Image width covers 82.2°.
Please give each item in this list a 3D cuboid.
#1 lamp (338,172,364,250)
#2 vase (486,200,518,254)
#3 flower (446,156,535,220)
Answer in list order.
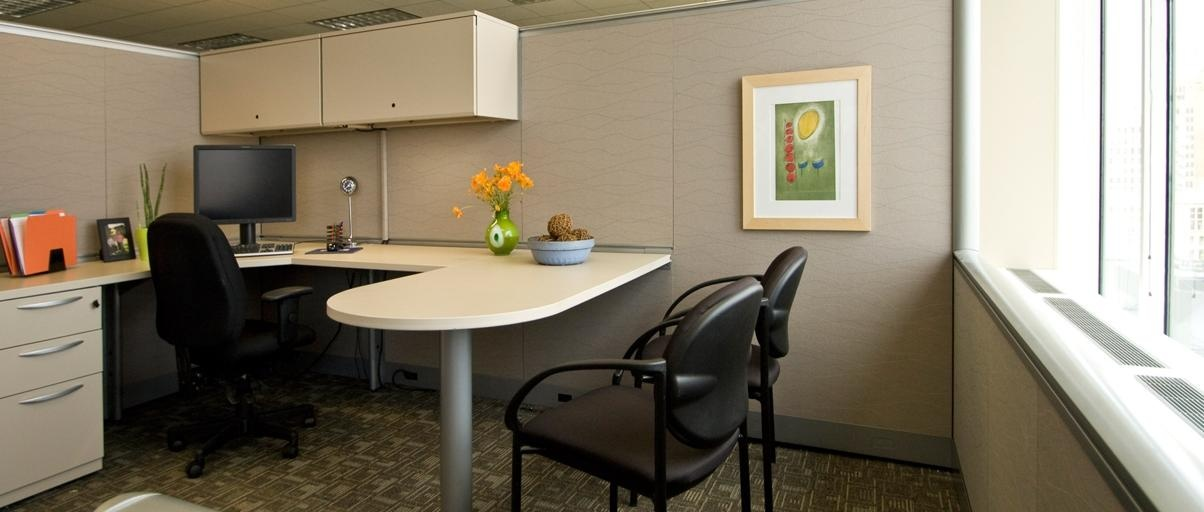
[{"bbox_3d":[-2.582,-0.482,7.075,0.203,0.659,0.146,5,13,24],"label":"lamp"},{"bbox_3d":[-0.909,-0.230,6.501,0.382,0.355,0.319,0,9,6],"label":"vase"},{"bbox_3d":[-0.845,-0.581,6.492,0.752,0.397,0.746,-4,-4,40],"label":"flower"}]
